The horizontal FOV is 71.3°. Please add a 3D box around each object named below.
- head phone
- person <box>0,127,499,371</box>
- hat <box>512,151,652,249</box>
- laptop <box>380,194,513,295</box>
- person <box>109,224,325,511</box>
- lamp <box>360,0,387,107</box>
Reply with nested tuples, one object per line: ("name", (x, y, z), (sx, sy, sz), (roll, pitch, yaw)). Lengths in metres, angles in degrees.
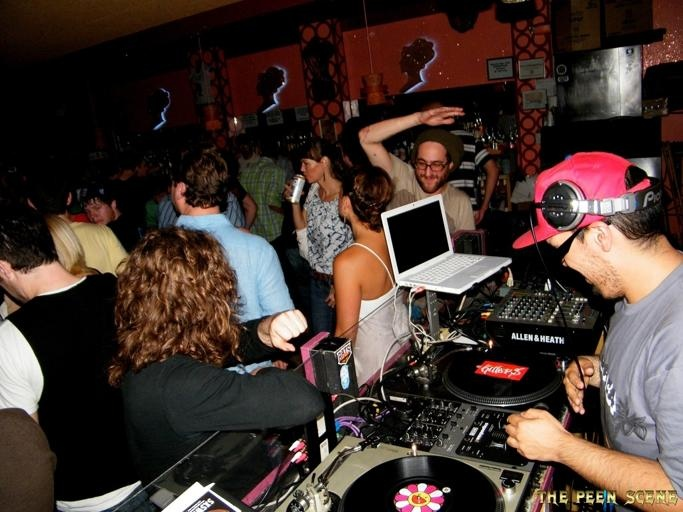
("head phone", (0.872, -0.183, 1.621), (0.346, 0.172, 0.360), (-8, 15, -20))
("person", (-0.660, -0.193, 2.658), (1.682, 1.513, 0.545), (-12, 2, -1))
("hat", (0.789, -0.170, 1.587), (0.337, 0.225, 0.249), (-1, 20, 44))
("laptop", (0.498, -0.009, 2.297), (0.469, 0.445, 0.676), (5, 21, 40))
("person", (-0.428, 0.386, 1.586), (0.522, 0.940, 0.432), (-27, 51, -13))
("lamp", (0.357, -2.492, 5.827), (0.240, 1.246, 0.892), (-7, 16, 6))
